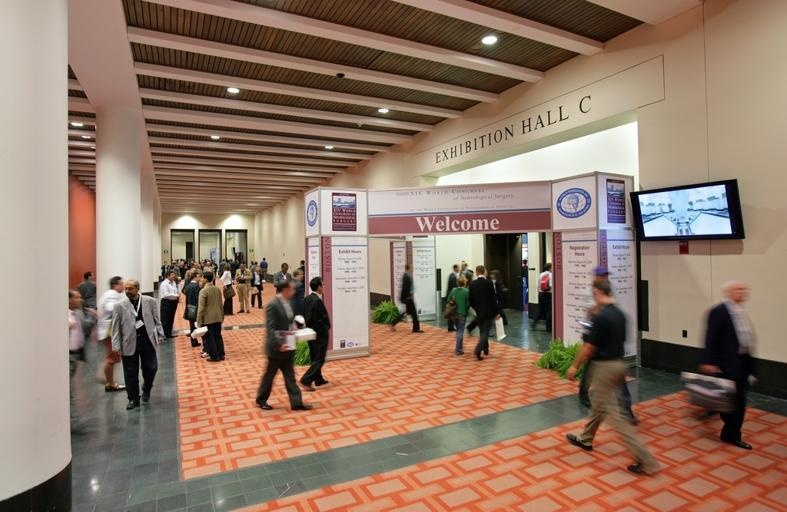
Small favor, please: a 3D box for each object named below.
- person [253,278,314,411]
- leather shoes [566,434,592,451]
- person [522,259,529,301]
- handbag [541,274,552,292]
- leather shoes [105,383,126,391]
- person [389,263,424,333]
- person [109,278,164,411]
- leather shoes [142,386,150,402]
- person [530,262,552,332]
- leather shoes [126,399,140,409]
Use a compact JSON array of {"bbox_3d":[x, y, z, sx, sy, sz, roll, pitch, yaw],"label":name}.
[{"bbox_3d":[-1.651,1.335,6.570,0.792,1.949,0.471,-2,8,-5],"label":"person"},{"bbox_3d":[2.285,2.307,5.480,0.116,0.095,0.279,3,7,-30],"label":"leather shoes"},{"bbox_3d":[4.056,0.771,13.730,0.079,1.397,0.190,-6,9,-30],"label":"person"},{"bbox_3d":[3.714,0.654,10.931,0.233,0.433,0.109,3,9,29],"label":"handbag"},{"bbox_3d":[-4.657,2.210,7.512,0.261,0.088,0.126,-1,3,-24],"label":"leather shoes"},{"bbox_3d":[0.353,1.070,11.683,0.768,1.846,1.093,-1,8,1],"label":"person"},{"bbox_3d":[-3.804,1.332,6.654,0.646,1.936,0.318,-6,9,-30],"label":"person"},{"bbox_3d":[-3.838,2.167,6.930,0.110,0.122,0.292,34,5,-43],"label":"leather shoes"},{"bbox_3d":[3.764,1.012,11.312,0.452,1.720,0.926,1,8,16],"label":"person"},{"bbox_3d":[-3.904,2.241,6.695,0.095,0.076,0.190,1,-11,-8],"label":"leather shoes"}]
